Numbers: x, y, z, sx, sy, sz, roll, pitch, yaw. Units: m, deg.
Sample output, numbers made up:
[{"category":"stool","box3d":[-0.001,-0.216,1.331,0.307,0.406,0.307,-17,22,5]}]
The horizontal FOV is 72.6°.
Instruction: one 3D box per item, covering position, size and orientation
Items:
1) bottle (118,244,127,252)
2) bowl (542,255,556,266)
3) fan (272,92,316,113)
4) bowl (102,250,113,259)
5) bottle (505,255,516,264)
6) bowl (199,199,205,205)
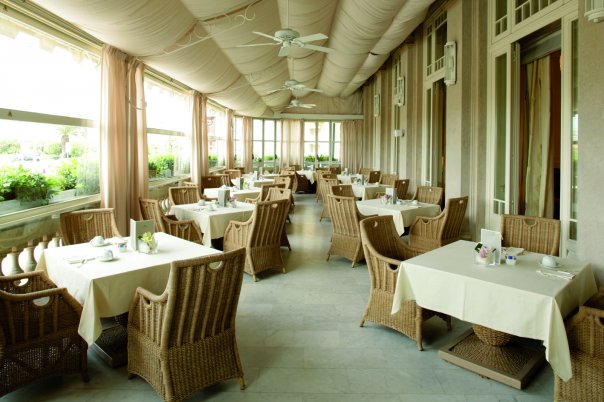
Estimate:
[{"category":"bottle","box3d":[-1.882,0.492,4.320,0.064,0.060,0.084,-1,-8,11]},{"category":"bowl","box3d":[2.387,0.568,3.971,0.103,0.061,0.105,-1,-1,0]},{"category":"fan","box3d":[-0.174,-3.702,15.925,1.377,0.585,1.547,1,0,-6]},{"category":"bowl","box3d":[-1.933,0.532,4.093,0.066,0.074,0.104,-2,2,-4]},{"category":"bottle","box3d":[2.040,0.570,4.020,0.089,0.087,0.089,-1,-6,18]},{"category":"bowl","box3d":[-1.640,0.016,6.732,0.090,0.081,0.090,0,0,0]}]
